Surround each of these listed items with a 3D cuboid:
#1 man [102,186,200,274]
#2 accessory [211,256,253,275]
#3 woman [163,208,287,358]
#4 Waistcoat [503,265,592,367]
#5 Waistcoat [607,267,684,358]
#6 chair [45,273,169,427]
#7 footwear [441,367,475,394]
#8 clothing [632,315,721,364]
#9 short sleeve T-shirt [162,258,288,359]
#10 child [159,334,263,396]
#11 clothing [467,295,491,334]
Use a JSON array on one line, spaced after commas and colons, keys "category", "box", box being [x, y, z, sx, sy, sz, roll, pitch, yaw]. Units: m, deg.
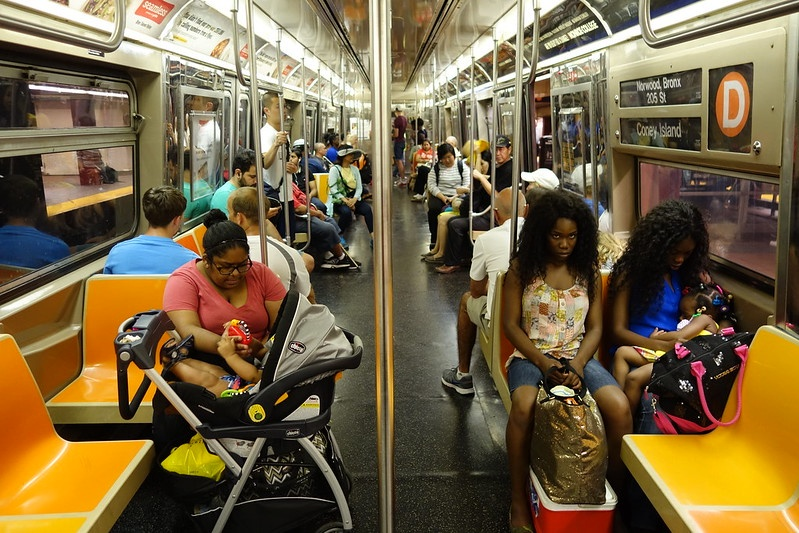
[{"category": "man", "box": [-2.176, -0.305, 4.504, 0.660, 0.672, 0.382, 8, 15, -5]}, {"category": "accessory", "box": [-1.049, 0.011, 3.267, 0.210, 0.098, 0.068, -6, 15, -22]}, {"category": "woman", "box": [-1.092, 0.130, 3.383, 0.784, 0.839, 0.578, -11, 30, -38]}, {"category": "Waistcoat", "box": [0.921, 0.336, 3.745, 0.610, 0.805, 0.470, 1, -1, 1]}, {"category": "Waistcoat", "box": [1.850, 0.368, 3.775, 0.555, 0.656, 0.365, 12, -24, 18]}, {"category": "chair", "box": [-1.934, 0.617, 3.769, 0.873, 0.887, 0.700, 5, 10, -8]}, {"category": "footwear", "box": [0.540, 1.037, 4.860, 0.142, 0.158, 0.325, 0, 11, -24]}, {"category": "clothing", "box": [1.809, 0.383, 3.552, 0.513, 0.297, 0.309, -26, -4, 16]}, {"category": "short sleeve T-shirt", "box": [-1.132, 0.346, 3.519, 0.808, 0.805, 0.443, -2, 0, -38]}, {"category": "child", "box": [-1.093, 0.553, 3.109, 0.490, 0.339, 0.354, 2, 14, 8]}, {"category": "clothing", "box": [0.658, 0.374, 4.534, 0.233, 0.093, 0.129, -33, 45, -5]}]
